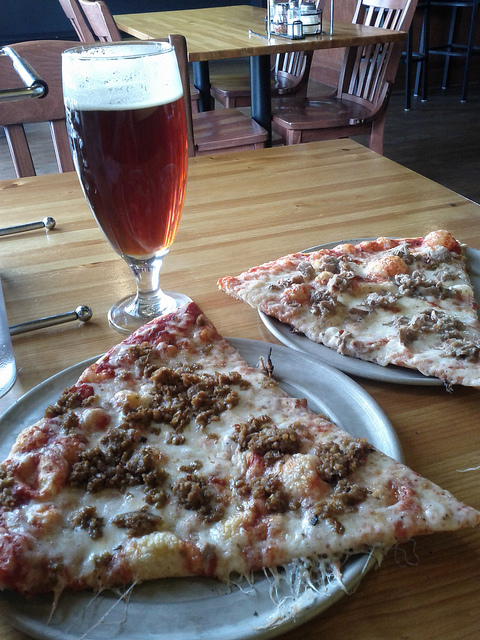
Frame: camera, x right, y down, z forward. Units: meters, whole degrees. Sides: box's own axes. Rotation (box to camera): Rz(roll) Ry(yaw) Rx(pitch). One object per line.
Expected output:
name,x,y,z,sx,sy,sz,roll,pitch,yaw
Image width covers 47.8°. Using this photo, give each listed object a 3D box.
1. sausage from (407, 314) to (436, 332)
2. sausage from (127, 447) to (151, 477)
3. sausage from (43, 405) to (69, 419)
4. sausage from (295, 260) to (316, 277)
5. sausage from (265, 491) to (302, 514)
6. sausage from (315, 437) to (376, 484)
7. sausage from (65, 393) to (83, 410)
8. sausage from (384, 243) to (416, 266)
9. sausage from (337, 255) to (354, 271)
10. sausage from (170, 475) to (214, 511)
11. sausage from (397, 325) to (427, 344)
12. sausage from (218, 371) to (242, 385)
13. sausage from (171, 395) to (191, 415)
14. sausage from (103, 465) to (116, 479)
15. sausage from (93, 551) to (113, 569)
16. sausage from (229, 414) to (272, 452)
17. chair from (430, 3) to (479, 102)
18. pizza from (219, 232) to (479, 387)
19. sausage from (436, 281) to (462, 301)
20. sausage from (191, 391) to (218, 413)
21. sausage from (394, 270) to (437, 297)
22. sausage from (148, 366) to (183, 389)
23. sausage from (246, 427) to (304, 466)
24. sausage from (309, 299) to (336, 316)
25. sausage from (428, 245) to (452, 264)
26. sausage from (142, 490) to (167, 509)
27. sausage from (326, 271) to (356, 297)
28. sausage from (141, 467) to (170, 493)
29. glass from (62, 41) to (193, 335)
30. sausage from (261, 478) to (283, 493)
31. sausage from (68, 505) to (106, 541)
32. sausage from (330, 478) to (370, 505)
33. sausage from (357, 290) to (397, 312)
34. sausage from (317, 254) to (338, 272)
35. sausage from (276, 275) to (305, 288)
sausage,0.147,0.001,0.437,0.018,0.006,0.014,-16,31,-21
sausage,-0.059,0.080,0.302,0.010,0.004,0.013,-2,30,8
sausage,-0.121,0.059,0.348,0.010,0.003,0.008,0,33,-10
sausage,0.064,-0.049,0.521,0.017,0.005,0.016,3,36,2
sausage,0.022,0.096,0.283,0.014,0.005,0.010,10,26,7
sausage,0.054,0.076,0.299,0.006,0.026,0.022,-8,71,-34
sausage,-0.111,0.054,0.354,0.009,0.004,0.010,5,38,0
sausage,0.164,-0.066,0.538,0.024,0.007,0.024,-9,28,38
sausage,0.103,-0.058,0.538,0.019,0.003,0.019,3,29,-5
sausage,-0.024,0.091,0.287,0.017,0.008,0.019,-16,36,-36
sausage,0.134,0.011,0.423,0.017,0.004,0.015,-18,33,-29
sausage,-0.007,0.040,0.370,0.013,0.004,0.008,-2,28,-6
sausage,-0.038,0.055,0.350,0.007,0.003,0.012,20,36,21
sausage,-0.076,0.086,0.304,0.006,0.002,0.006,-6,34,-5
sausage,-0.065,0.113,0.255,0.009,0.002,0.008,-12,27,-19
sausage,0.003,0.067,0.327,0.017,0.004,0.027,7,24,31
chair,1.719,-2.123,4.300,0.379,0.679,0.805,5,28,17
pizza,0.120,-0.016,0.473,0.177,0.022,0.165,-16,32,-22
sausage,0.187,-0.025,0.480,0.020,0.006,0.014,3,44,12
sausage,-0.024,0.054,0.353,0.014,0.004,0.014,-27,40,-31
sausage,0.158,-0.033,0.494,0.028,0.010,0.030,-9,25,-6
sausage,-0.051,0.040,0.371,0.016,0.005,0.016,0,24,-10
sausage,0.021,0.072,0.312,0.022,0.008,0.022,15,29,30
sausage,0.072,-0.010,0.459,0.017,0.006,0.016,-15,23,-36
sausage,0.199,-0.064,0.527,0.016,0.007,0.020,0,27,-5
sausage,-0.047,0.095,0.288,0.009,0.002,0.008,-3,15,-5
sausage,0.094,-0.033,0.492,0.023,0.007,0.022,-9,42,0
sausage,-0.046,0.087,0.297,0.010,0.005,0.012,33,43,21
glass,-0.089,-0.112,0.475,0.111,0.228,0.092,-23,34,-31
sausage,0.017,0.089,0.289,0.007,0.002,0.007,-11,33,-28
sausage,-0.078,0.102,0.275,0.016,0.006,0.013,37,37,11
sausage,0.057,0.090,0.280,0.014,0.005,0.013,-13,20,-37
sausage,0.124,-0.016,0.474,0.026,0.009,0.018,-3,28,10
sausage,0.085,-0.055,0.529,0.018,0.005,0.018,32,45,23
sausage,0.048,-0.036,0.506,0.016,0.005,0.015,-8,15,-7
